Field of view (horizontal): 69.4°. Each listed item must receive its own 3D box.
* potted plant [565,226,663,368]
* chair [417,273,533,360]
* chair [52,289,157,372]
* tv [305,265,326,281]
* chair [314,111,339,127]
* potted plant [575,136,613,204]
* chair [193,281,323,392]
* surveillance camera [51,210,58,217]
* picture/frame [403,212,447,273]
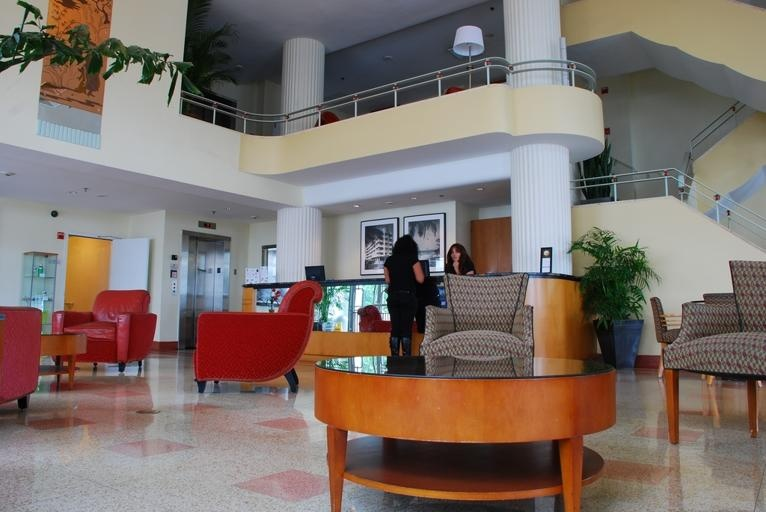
[{"bbox_3d":[3.788,0.792,9.115,1.355,2.088,1.336,-6,-15,11],"label":"potted plant"},{"bbox_3d":[0.810,0.503,4.845,0.747,0.984,0.827,-2,-15,14],"label":"chair"},{"bbox_3d":[-4.101,1.079,8.178,1.374,1.133,1.313,4,-5,-37],"label":"chair"},{"bbox_3d":[-1.191,0.318,9.927,0.328,0.314,0.287,1,-1,19],"label":"tv"},{"bbox_3d":[-1.103,-2.736,10.992,0.347,0.226,0.571,0,-2,6],"label":"chair"},{"bbox_3d":[4.210,-1.748,11.011,0.696,1.596,2.382,0,-5,21],"label":"potted plant"},{"bbox_3d":[-1.320,0.894,6.633,1.533,1.183,1.187,-2,0,-2],"label":"chair"},{"bbox_3d":[-7.029,-0.896,11.849,0.043,0.166,0.164,-1,-5,30],"label":"surveillance camera"},{"bbox_3d":[0.843,-0.239,10.379,1.146,1.599,0.064,-5,-9,35],"label":"picture/frame"}]
